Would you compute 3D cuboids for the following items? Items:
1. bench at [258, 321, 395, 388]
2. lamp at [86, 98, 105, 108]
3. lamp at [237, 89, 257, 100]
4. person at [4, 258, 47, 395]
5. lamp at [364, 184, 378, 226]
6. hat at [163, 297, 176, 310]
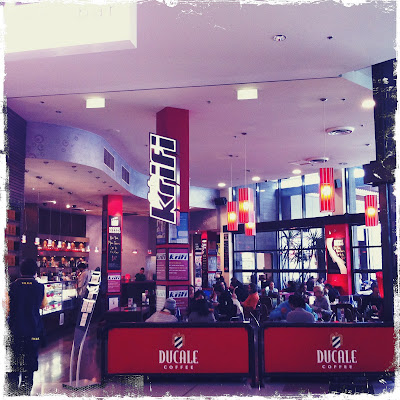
[{"bbox_3d":[1.384,1.668,5.283,1.459,0.612,0.109,1,0,1],"label":"bench"},{"bbox_3d":[-1.710,-1.586,7.913,0.251,0.148,0.126,1,8,4],"label":"lamp"},{"bbox_3d":[0.752,-1.681,7.659,0.316,0.138,0.216,1,1,4],"label":"lamp"},{"bbox_3d":[-2.053,1.480,5.637,0.420,1.563,0.560,1,0,30],"label":"person"},{"bbox_3d":[3.929,0.228,11.128,0.285,0.733,0.245,1,0,23],"label":"lamp"},{"bbox_3d":[-0.426,1.464,6.850,0.149,0.194,0.183,3,-19,2],"label":"hat"}]
